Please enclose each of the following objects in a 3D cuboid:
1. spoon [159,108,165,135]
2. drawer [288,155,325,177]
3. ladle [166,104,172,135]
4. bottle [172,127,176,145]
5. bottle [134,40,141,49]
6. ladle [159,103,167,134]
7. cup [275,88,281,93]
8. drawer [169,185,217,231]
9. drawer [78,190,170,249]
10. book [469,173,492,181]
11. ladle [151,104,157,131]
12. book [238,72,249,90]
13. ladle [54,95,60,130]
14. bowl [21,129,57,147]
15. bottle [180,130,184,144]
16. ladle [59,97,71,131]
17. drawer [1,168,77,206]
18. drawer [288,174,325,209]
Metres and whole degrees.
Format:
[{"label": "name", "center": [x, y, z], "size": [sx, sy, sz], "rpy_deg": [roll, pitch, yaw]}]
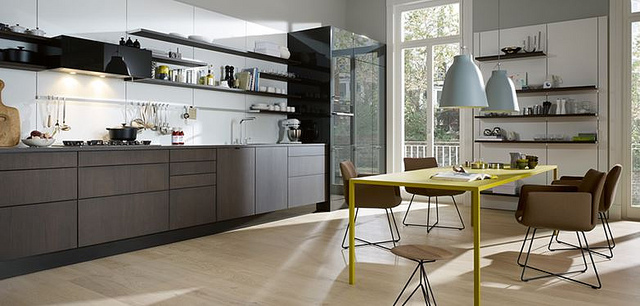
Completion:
[{"label": "spoon", "center": [-2.921, -0.589, 7.118], "size": [0.084, 0.472, 0.051], "rpy_deg": [-4, 4, -25]}, {"label": "drawer", "center": [-0.315, 0.271, 8.008], "size": [0.450, 0.329, 0.864], "rpy_deg": [-3, -3, 43]}, {"label": "ladle", "center": [-2.807, -0.624, 7.189], "size": [0.086, 0.557, 0.059], "rpy_deg": [-4, 4, -22]}, {"label": "bottle", "center": [-2.708, -0.329, 7.166], "size": [0.068, 0.315, 0.177], "rpy_deg": [-4, 4, -24]}, {"label": "bottle", "center": [-3.185, -1.884, 6.748], "size": [0.125, 0.107, 0.117], "rpy_deg": [-5, 7, -35]}, {"label": "ladle", "center": [-2.907, -0.629, 7.117], "size": [0.125, 0.553, 0.052], "rpy_deg": [-6, 5, -44]}, {"label": "cup", "center": [-0.908, -1.342, 8.288], "size": [0.101, 0.106, 0.117], "rpy_deg": [-2, 3, 11]}, {"label": "drawer", "center": [-2.232, 0.928, 6.696], "size": [1.037, 0.668, 0.536], "rpy_deg": [2, -3, -44]}, {"label": "drawer", "center": [-3.155, 1.021, 6.154], "size": [1.726, 0.649, 0.866], "rpy_deg": [2, -3, -43]}, {"label": "book", "center": [2.260, 0.340, 5.532], "size": [0.454, 0.066, 0.168], "rpy_deg": [-3, 3, -31]}, {"label": "ladle", "center": [-3.017, -0.646, 7.049], "size": [0.036, 0.479, 0.132], "rpy_deg": [0, 4, 37]}, {"label": "book", "center": [-1.550, -1.461, 7.848], "size": [0.340, 0.257, 0.074], "rpy_deg": [0, -5, 16]}, {"label": "ladle", "center": [-4.289, -0.650, 6.316], "size": [0.029, 0.530, 0.086], "rpy_deg": [0, 4, 34]}, {"label": "bowl", "center": [-4.353, -0.220, 5.977], "size": [0.450, 0.151, 0.347], "rpy_deg": [1, -4, -5]}, {"label": "bottle", "center": [-2.565, -0.287, 7.177], "size": [0.047, 0.232, 0.133], "rpy_deg": [-3, 3, 3]}, {"label": "ladle", "center": [-4.195, -0.629, 6.347], "size": [0.056, 0.524, 0.146], "rpy_deg": [1, 5, 45]}, {"label": "drawer", "center": [-4.135, 0.478, 5.656], "size": [1.116, 0.417, 0.548], "rpy_deg": [2, -4, -38]}, {"label": "drawer", "center": [-0.296, 0.777, 8.040], "size": [0.682, 0.634, 1.262], "rpy_deg": [-3, -4, 43]}]
